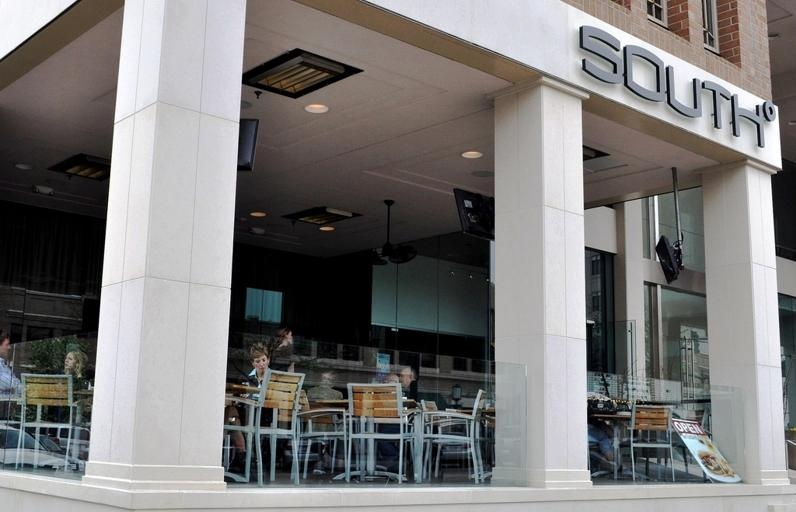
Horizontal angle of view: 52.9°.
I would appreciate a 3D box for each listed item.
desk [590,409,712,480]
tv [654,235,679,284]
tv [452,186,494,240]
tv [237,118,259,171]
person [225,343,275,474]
[{"bbox_3d":[4.087,3.070,13.085,1.360,1.129,0.995,-1,-16,16],"label":"desk"},{"bbox_3d":[5.205,-0.008,15.347,0.355,0.896,0.666,-8,-26,6],"label":"tv"},{"bbox_3d":[1.379,-0.837,14.604,0.110,0.655,1.035,-11,-12,35],"label":"tv"},{"bbox_3d":[-1.998,-1.522,10.586,0.232,0.796,0.491,5,-15,-12],"label":"tv"},{"bbox_3d":[-1.932,1.901,10.224,0.530,1.638,1.247,5,-15,-12],"label":"person"}]
